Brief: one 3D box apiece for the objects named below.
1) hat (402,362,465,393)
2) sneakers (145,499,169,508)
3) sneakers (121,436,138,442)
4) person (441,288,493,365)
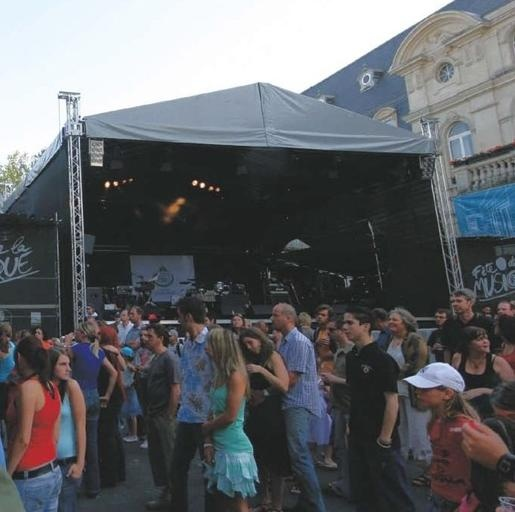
[{"bbox_3d":[1.120,0.758,3.666,0.306,0.130,0.197,4,-12,5],"label":"hat"},{"bbox_3d":[-0.956,2.370,5.525,0.214,0.103,0.094,-3,-7,-8],"label":"sneakers"},{"bbox_3d":[-1.978,2.834,8.971,0.242,0.087,0.081,11,-22,-12],"label":"sneakers"},{"bbox_3d":[2.321,0.825,6.484,0.692,0.855,0.464,-3,-7,41],"label":"person"}]
